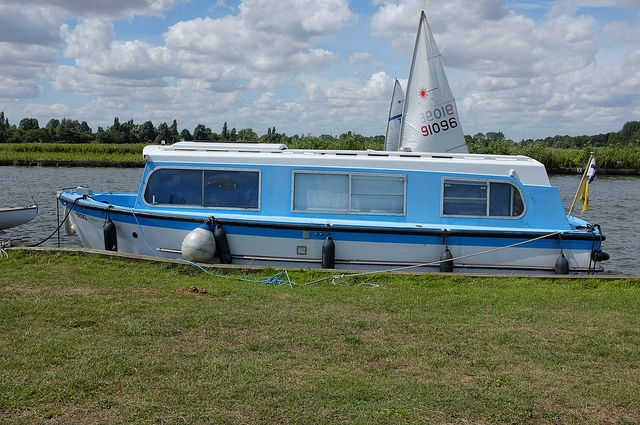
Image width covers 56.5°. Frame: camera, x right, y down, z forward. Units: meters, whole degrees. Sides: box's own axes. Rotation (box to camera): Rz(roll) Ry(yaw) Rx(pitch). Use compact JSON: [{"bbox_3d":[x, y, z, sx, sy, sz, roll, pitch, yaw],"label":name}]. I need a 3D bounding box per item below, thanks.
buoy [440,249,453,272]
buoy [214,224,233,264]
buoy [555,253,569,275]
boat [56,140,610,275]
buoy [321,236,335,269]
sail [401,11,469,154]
[{"bbox_3d":[3.034,1.161,14.227,0.317,0.528,0.245,5,14,10],"label":"buoy"},{"bbox_3d":[-2.375,0.781,14.561,0.448,0.944,0.299,3,14,4],"label":"buoy"},{"bbox_3d":[5.775,1.229,14.158,0.301,0.494,0.246,7,15,19],"label":"buoy"},{"bbox_3d":[0.413,-0.132,15.969,14.507,3.407,4.455,0,4,2],"label":"boat"},{"bbox_3d":[0.209,0.959,14.284,0.280,0.754,0.256,0,14,-10],"label":"buoy"},{"bbox_3d":[3.425,-3.689,17.633,1.614,3.726,1.187,9,16,27],"label":"sail"}]
